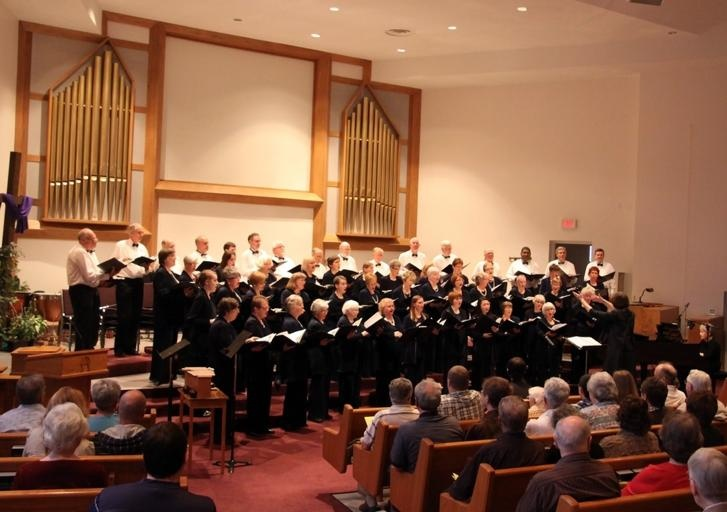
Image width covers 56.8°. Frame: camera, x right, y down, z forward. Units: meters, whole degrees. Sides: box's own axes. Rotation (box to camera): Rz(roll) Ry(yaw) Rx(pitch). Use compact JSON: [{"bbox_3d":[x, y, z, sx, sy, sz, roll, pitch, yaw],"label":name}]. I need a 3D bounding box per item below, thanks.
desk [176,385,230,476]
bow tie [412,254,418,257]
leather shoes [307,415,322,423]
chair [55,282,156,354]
[{"bbox_3d":[-1.563,1.696,6.660,0.416,0.639,0.555,3,-4,-13],"label":"desk"},{"bbox_3d":[0.922,-0.028,11.926,0.057,0.059,0.018,-10,7,-11],"label":"bow tie"},{"bbox_3d":[-0.573,1.944,8.073,0.168,0.115,0.057,-1,-3,25],"label":"leather shoes"},{"bbox_3d":[-3.301,0.791,8.710,0.980,0.678,0.348,1,-6,-32],"label":"chair"}]
